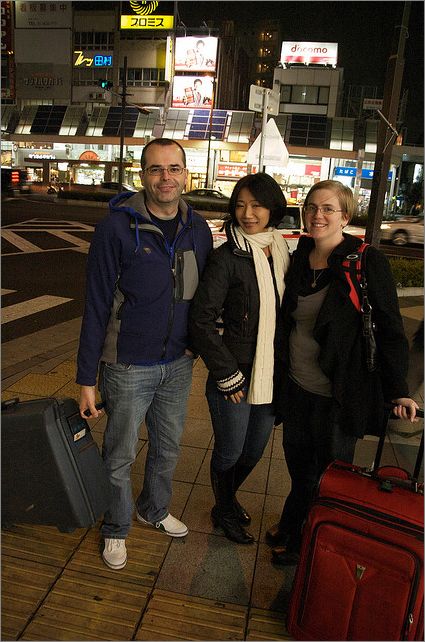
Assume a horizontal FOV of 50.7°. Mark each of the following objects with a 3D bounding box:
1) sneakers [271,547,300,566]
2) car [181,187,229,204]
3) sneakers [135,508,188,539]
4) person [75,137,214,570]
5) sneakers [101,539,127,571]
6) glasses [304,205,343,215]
[{"bbox_3d":[0.368,1.214,2.344,0.155,0.107,0.082,-9,20,2],"label":"sneakers"},{"bbox_3d":[-0.542,-8.668,30.572,3.063,1.154,1.428,-3,16,1],"label":"car"},{"bbox_3d":[-0.295,1.144,2.527,0.257,0.089,0.114,14,31,25],"label":"sneakers"},{"bbox_3d":[-0.348,0.175,2.236,0.675,2.080,0.330,-4,13,-41],"label":"person"},{"bbox_3d":[-0.484,1.143,2.203,0.066,0.073,0.182,0,-1,-12],"label":"sneakers"},{"bbox_3d":[0.480,-0.497,1.998,0.164,0.039,0.061,11,12,26],"label":"glasses"}]
